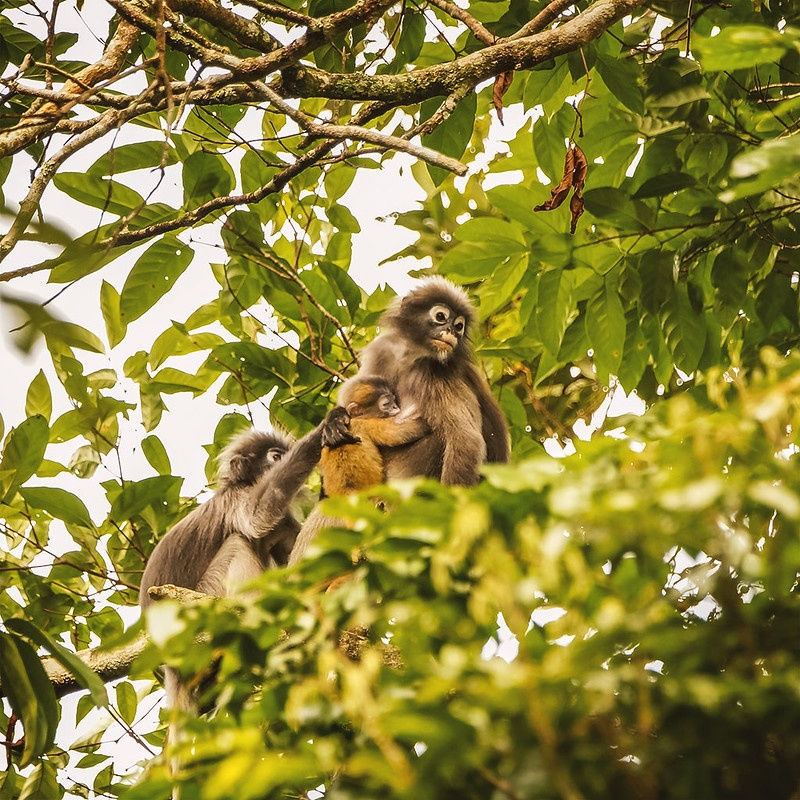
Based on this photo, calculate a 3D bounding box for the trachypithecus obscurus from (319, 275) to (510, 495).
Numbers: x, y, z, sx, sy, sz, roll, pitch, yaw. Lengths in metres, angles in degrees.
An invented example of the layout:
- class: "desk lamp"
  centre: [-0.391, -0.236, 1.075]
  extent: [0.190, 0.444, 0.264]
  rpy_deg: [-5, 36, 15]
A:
- class: "trachypithecus obscurus"
  centre: [0.083, -0.034, 4.925]
  extent: [0.535, 0.603, 0.756]
  rpy_deg: [-3, -75, -64]
